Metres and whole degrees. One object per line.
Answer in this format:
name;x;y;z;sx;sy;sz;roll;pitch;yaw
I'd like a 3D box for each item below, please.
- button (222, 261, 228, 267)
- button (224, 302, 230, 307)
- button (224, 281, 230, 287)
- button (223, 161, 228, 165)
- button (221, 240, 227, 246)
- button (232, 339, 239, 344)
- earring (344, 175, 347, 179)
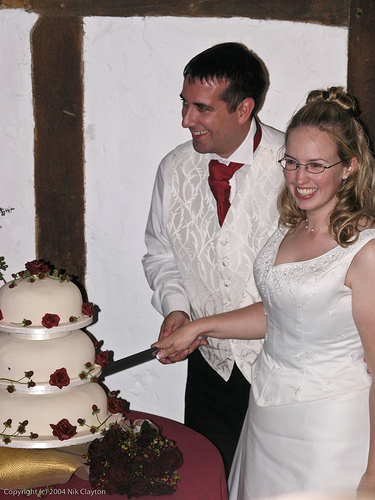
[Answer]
button;0.184;0.067;2.660;0.024;0.026;0.013;1;-2;5
button;0.198;0.267;2.693;0.023;0.017;0.006;-2;-1;22
button;0.194;0.163;2.672;0.034;0.025;0.007;0;1;3
button;0.192;-0.438;2.744;0.021;0.015;0.005;0;-7;24
button;0.178;-0.036;2.657;0.033;0.025;0.007;0;-2;6
button;0.226;0.431;2.592;0.040;0.029;0.008;-2;12;3
earring;0.565;-0.261;1.947;0.013;0.010;0.003;-3;2;-5
